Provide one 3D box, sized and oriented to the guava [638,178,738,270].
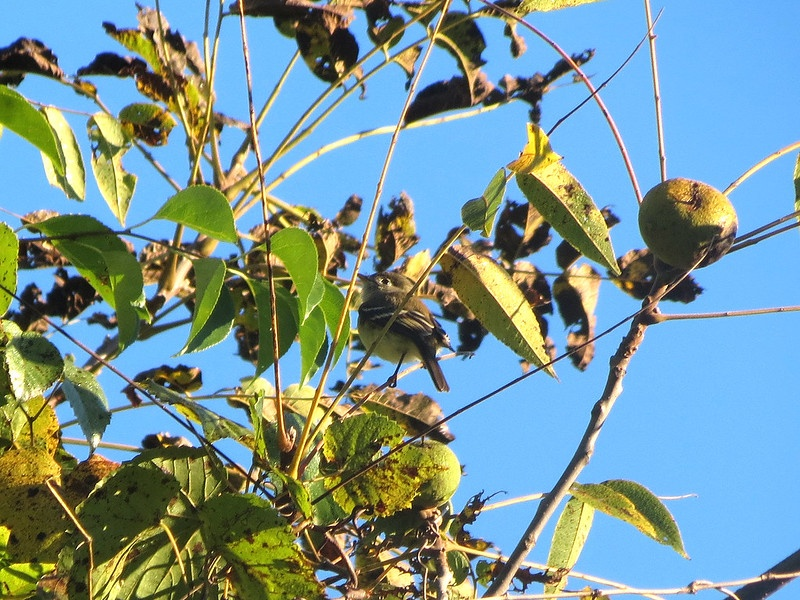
[{"bbox_3d":[0.916,-0.230,4.881,0.306,0.338,0.387,-9,-96,37],"label":"guava"}]
